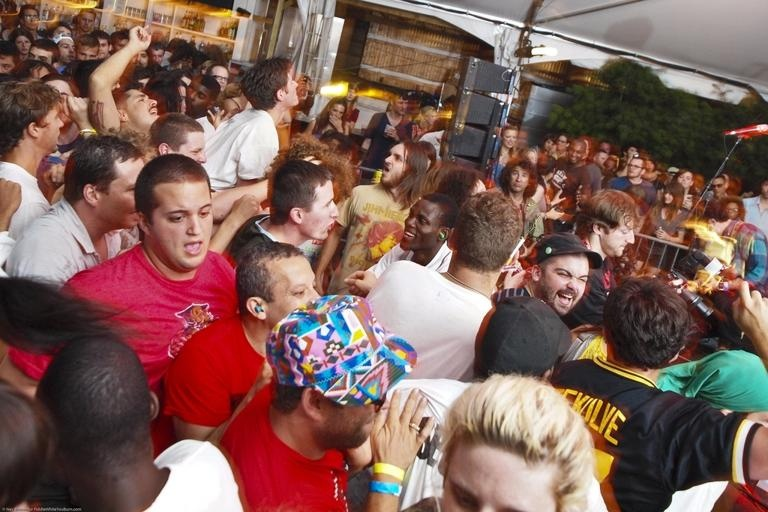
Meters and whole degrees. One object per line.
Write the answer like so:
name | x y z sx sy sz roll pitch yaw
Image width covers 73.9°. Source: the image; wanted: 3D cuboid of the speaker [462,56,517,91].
speaker | 1.092 -1.847 5.388 0.600 0.354 0.187 7 14 -37

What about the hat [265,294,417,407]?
hat | -0.199 0.367 2.263 0.646 0.347 0.528 -5 13 1

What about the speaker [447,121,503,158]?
speaker | 0.933 -1.207 5.480 0.514 0.372 0.434 5 -1 -4

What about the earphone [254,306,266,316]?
earphone | -0.653 0.288 2.655 0.047 0.049 0.013 -7 -6 1

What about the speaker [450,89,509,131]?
speaker | 1.014 -1.536 5.446 0.388 0.539 0.556 5 5 1

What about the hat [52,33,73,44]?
hat | -4.623 -3.111 7.348 0.239 0.184 0.347 6 15 -37

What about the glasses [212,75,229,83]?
glasses | -2.189 -2.356 6.851 0.102 0.102 0.319 15 12 -2

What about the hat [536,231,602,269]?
hat | 1.452 -0.007 4.014 0.395 0.212 0.299 -10 -2 23
